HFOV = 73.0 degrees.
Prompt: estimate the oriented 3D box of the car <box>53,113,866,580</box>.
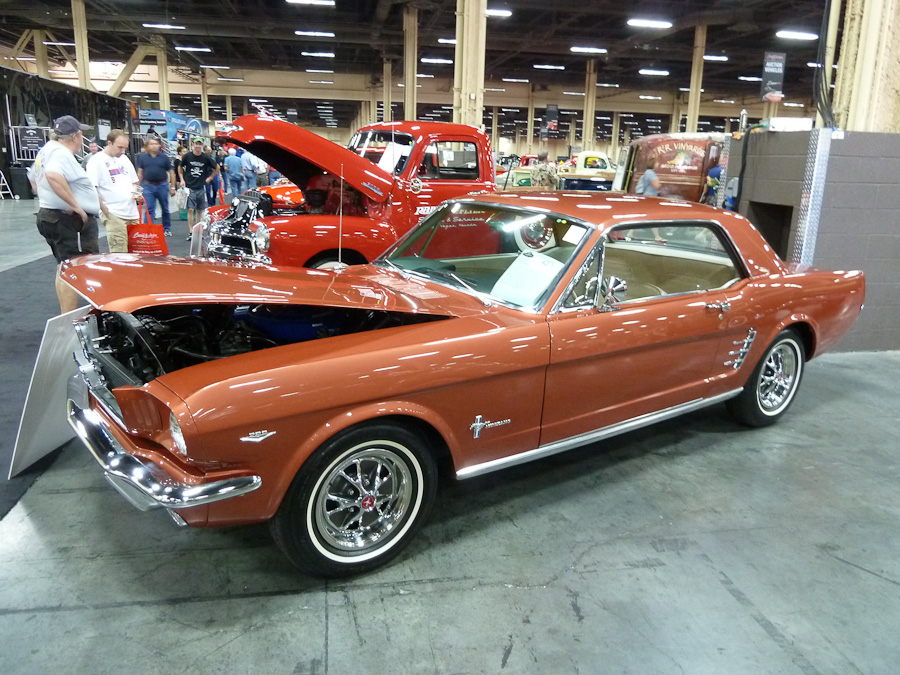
[{"bbox_3d":[1.033,-0.075,4.056,5.886,1.208,2.125,-7,20,-20],"label":"car"}]
